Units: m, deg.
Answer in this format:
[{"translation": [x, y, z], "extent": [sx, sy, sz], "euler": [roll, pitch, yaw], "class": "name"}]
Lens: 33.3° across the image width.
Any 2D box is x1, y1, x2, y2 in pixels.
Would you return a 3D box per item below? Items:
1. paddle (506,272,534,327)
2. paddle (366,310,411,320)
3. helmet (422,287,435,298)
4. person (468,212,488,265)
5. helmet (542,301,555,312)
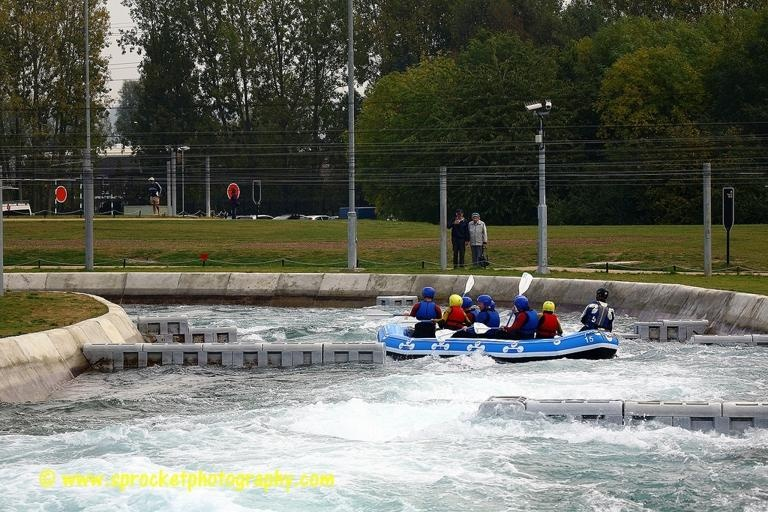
[{"translation": [6.174, 2.043, 57.923], "extent": [0.414, 2.806, 0.105], "euler": [22, -33, 15], "class": "paddle"}, {"translation": [0.108, 2.764, 60.346], "extent": [2.559, 0.635, 0.153], "euler": [1, 10, -7], "class": "paddle"}, {"translation": [1.880, 1.531, 54.722], "extent": [0.481, 0.418, 0.371], "euler": [30, 43, 33], "class": "helmet"}, {"translation": [4.915, -0.766, 66.646], "extent": [1.004, 2.743, 1.503], "euler": [0, 4, 5], "class": "person"}, {"translation": [7.006, 2.143, 54.167], "extent": [0.456, 0.510, 0.574], "euler": [5, 3, 10], "class": "helmet"}]
